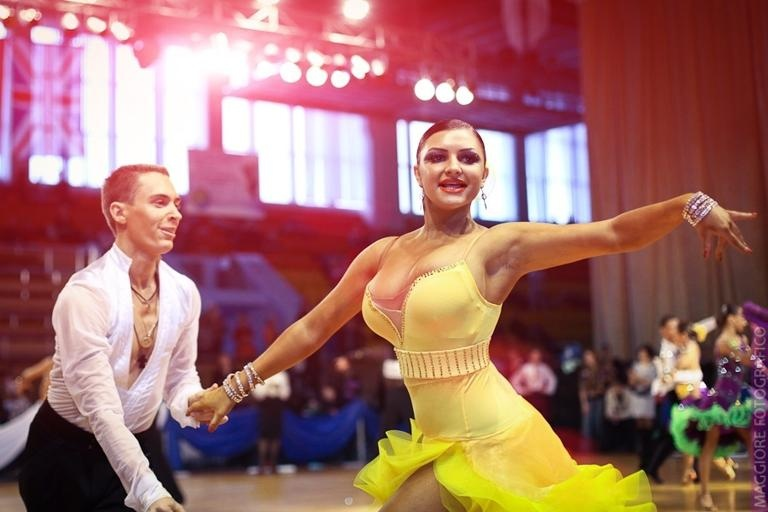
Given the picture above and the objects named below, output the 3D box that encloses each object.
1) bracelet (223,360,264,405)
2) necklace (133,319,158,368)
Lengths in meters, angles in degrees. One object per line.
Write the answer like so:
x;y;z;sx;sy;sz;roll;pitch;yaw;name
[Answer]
-0.809;0.712;4.657;0.242;0.211;0.114;-40;10;-2;bracelet
-1.297;0.509;4.465;0.162;0.211;0.051;4;-6;-32;necklace
